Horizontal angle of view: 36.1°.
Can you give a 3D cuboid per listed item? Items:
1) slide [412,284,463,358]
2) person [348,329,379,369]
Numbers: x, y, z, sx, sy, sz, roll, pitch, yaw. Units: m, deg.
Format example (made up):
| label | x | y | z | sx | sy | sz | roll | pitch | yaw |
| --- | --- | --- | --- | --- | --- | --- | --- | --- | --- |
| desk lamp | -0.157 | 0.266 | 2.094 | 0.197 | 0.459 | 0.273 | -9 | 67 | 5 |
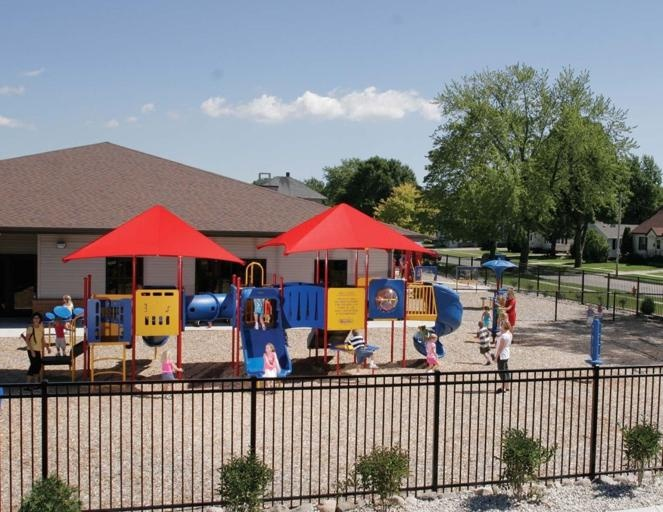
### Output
| label | x | y | z | sx | sy | sz | roll | pitch | yaw |
| --- | --- | --- | --- | --- | --- | --- | --- | --- | --- |
| slide | 3.378 | 2.087 | 31.975 | 1.370 | 2.329 | 1.716 | -1 | -3 | 4 |
| person | 0.964 | 2.940 | 31.336 | 0.641 | 1.216 | 0.769 | -18 | 20 | 27 |
